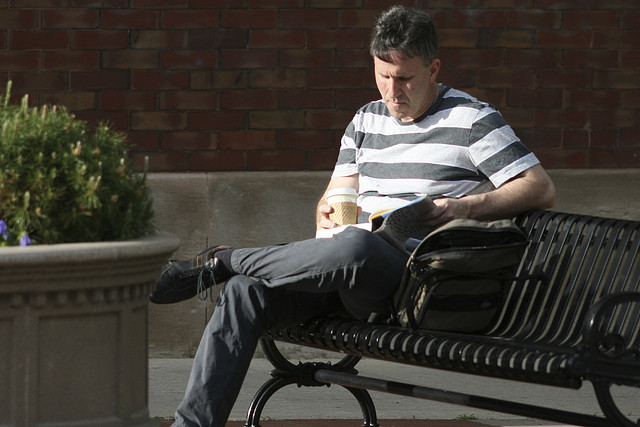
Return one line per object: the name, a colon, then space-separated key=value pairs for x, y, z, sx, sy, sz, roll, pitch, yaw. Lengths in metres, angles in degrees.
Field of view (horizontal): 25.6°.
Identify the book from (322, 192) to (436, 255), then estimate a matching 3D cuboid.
book: x=0.437 y=0.051 z=7.852 sx=0.378 sy=0.165 sz=0.486 roll=-9 pitch=-8 yaw=21
